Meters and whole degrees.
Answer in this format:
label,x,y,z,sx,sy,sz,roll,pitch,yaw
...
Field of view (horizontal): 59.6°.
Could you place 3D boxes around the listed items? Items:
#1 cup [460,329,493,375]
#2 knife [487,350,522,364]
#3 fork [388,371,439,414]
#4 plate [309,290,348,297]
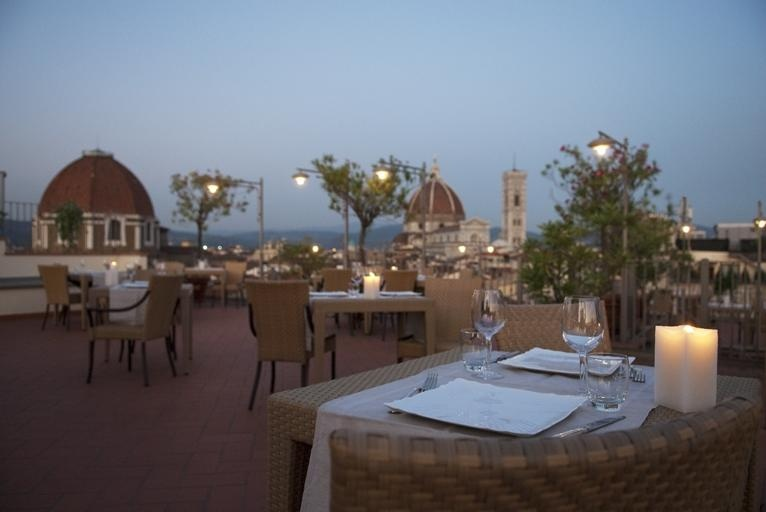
label,x,y,z,sx,sy,sz,roll,pitch,yaw
cup,0.727,0.725,5.307,0.242,0.336,0.281,3,12,6
knife,1.015,0.804,5.449,0.073,0.092,0.639,-25,-19,35
fork,0.227,1.012,4.906,0.062,0.071,0.461,-3,18,29
plate,-0.634,0.462,7.955,0.454,0.050,0.364,-2,1,-1
